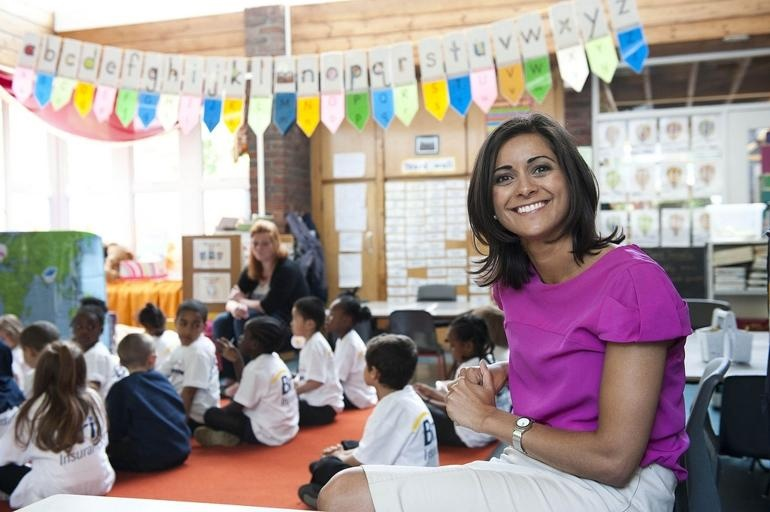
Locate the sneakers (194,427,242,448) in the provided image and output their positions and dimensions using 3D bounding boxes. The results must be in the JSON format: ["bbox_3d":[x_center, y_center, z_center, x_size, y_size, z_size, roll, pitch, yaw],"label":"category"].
[{"bbox_3d":[-1.243,1.310,4.961,0.355,0.134,0.153,8,-11,8],"label":"sneakers"}]

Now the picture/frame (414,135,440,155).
[{"bbox_3d":[0.525,-1.402,8.409,0.391,0.333,0.217,1,3,15],"label":"picture/frame"}]

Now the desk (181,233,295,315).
[{"bbox_3d":[-1.698,0.209,7.538,0.776,1.136,0.789,0,-3,4],"label":"desk"}]
